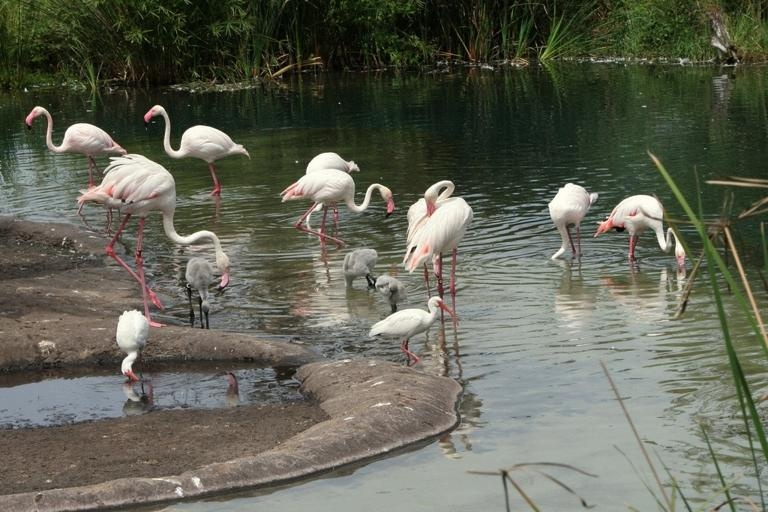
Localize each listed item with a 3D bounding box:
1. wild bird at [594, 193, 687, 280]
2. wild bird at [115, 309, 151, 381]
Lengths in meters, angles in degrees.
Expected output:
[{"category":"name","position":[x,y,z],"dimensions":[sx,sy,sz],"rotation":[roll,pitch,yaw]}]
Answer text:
[{"category":"wild bird","position":[3.652,-0.363,13.011],"dimensions":[0.555,0.959,1.573],"rotation":[-4,16,-27]},{"category":"wild bird","position":[-2.788,0.980,10.363],"dimensions":[0.375,0.706,0.523],"rotation":[-10,15,-17]}]
